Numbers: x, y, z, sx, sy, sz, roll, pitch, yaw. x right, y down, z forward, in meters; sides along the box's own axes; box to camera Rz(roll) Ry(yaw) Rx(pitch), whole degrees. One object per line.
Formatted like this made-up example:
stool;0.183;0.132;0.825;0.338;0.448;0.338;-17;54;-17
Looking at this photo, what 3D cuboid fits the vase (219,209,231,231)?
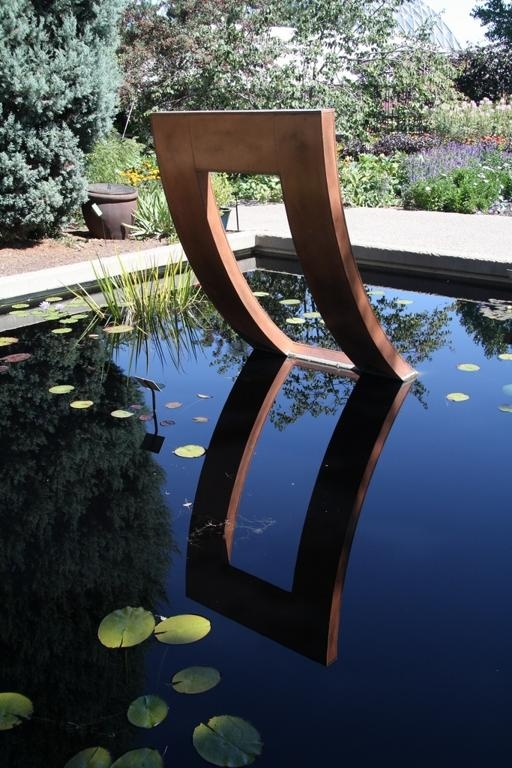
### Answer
vase;-0.324;-1.772;6.396;0.097;0.209;0.277;-4;19;-2
